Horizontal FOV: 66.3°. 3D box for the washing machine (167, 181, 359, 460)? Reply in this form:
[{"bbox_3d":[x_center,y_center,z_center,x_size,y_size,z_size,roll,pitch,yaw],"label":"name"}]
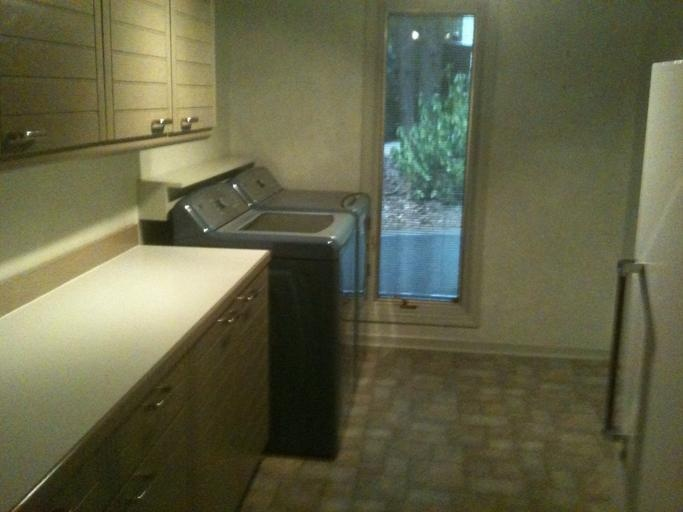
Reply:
[{"bbox_3d":[-0.228,0.183,2.008,0.666,0.913,0.535,3,13,10],"label":"washing machine"}]

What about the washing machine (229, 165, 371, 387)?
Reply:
[{"bbox_3d":[-0.101,0.100,2.074,0.500,0.824,0.654,3,15,4],"label":"washing machine"}]
